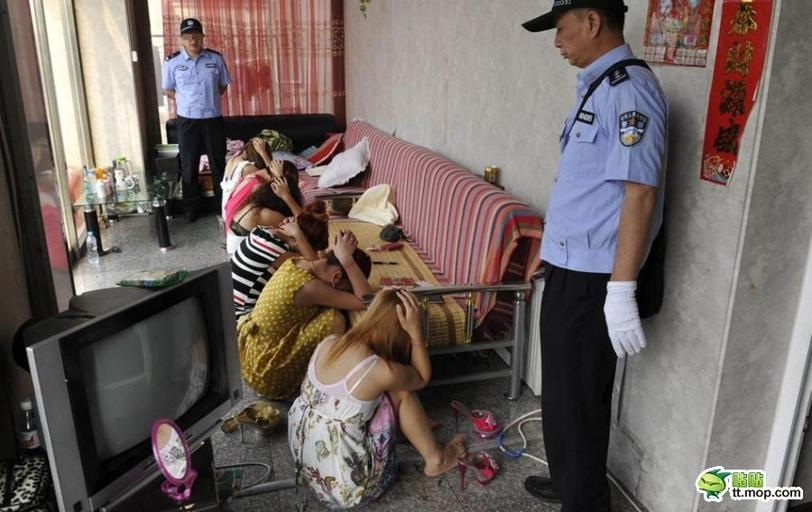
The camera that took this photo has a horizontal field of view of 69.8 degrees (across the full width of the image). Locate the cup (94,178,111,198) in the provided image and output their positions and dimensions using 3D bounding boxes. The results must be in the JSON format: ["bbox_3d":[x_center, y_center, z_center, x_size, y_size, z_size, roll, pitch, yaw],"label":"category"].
[{"bbox_3d":[-2.405,-0.539,4.630,0.103,0.141,0.151,-9,17,-27],"label":"cup"}]

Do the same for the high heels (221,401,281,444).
[{"bbox_3d":[-0.835,0.912,3.202,0.273,0.097,0.168,-24,65,-24],"label":"high heels"}]

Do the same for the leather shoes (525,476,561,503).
[{"bbox_3d":[0.674,1.144,2.853,0.100,0.058,0.181,-8,13,-28],"label":"leather shoes"}]

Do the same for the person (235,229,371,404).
[{"bbox_3d":[-0.795,0.180,3.713,0.610,1.079,0.452,16,20,-17],"label":"person"}]

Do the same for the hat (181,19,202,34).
[{"bbox_3d":[-2.149,-2.312,5.845,0.185,0.153,0.199,-5,16,-15],"label":"hat"}]

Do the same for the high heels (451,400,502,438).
[{"bbox_3d":[0.400,0.907,3.291,0.261,0.114,0.134,9,12,40],"label":"high heels"}]

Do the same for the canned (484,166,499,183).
[{"bbox_3d":[0.565,-0.557,3.942,0.098,0.119,0.108,-3,29,-10],"label":"canned"}]

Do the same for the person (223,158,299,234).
[{"bbox_3d":[-1.271,-0.555,4.708,0.412,0.804,0.344,2,23,-25],"label":"person"}]

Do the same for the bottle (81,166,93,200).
[{"bbox_3d":[-2.542,-0.604,4.683,0.097,0.239,0.210,-9,17,-27],"label":"bottle"}]

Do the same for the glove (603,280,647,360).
[{"bbox_3d":[0.903,0.252,2.422,0.160,0.353,0.137,1,15,8],"label":"glove"}]

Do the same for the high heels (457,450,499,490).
[{"bbox_3d":[0.378,1.071,2.979,0.096,0.115,0.265,8,12,41],"label":"high heels"}]

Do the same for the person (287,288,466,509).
[{"bbox_3d":[-0.179,0.723,2.919,0.917,0.944,0.575,-16,30,-38],"label":"person"}]

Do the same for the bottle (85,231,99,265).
[{"bbox_3d":[-2.775,-0.087,5.166,0.100,0.250,0.296,-10,18,-29],"label":"bottle"}]
